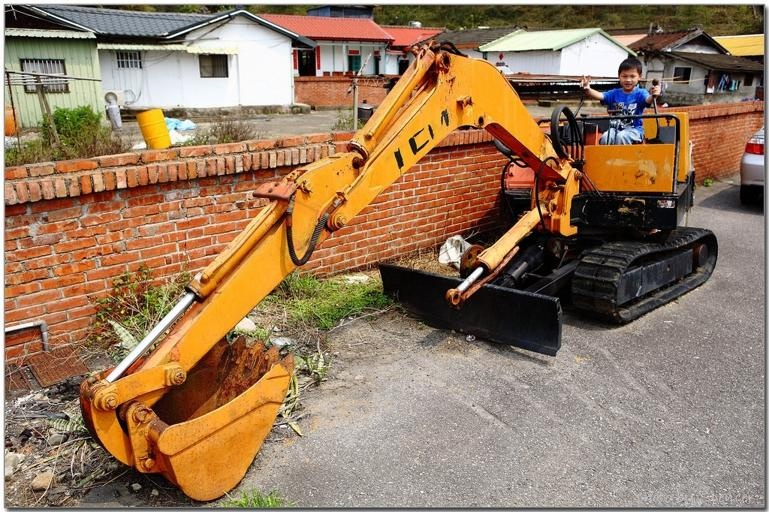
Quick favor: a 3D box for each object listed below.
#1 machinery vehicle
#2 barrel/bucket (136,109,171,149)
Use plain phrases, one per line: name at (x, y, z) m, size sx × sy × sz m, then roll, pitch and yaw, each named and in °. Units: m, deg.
machinery vehicle at (0.757, -0.518, 6.438) m, size 8.530 × 3.612 × 3.000 m, roll -19°, pitch 25°, yaw -35°
barrel/bucket at (-3.228, -1.718, 7.532) m, size 0.355 × 0.538 × 0.361 m, roll -24°, pitch 9°, yaw 4°
